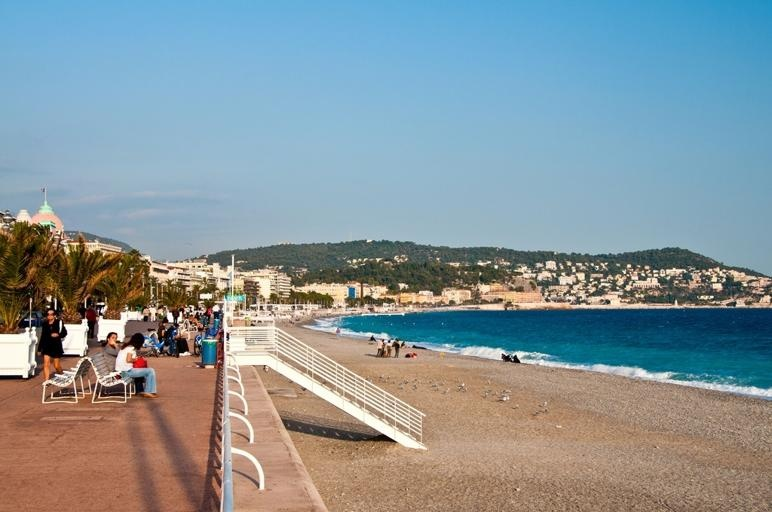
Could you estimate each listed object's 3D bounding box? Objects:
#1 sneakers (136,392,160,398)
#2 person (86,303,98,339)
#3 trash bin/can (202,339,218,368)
[{"bbox_3d":[-5.780,3.366,16.948,0.525,0.167,0.158,0,-1,-2],"label":"sneakers"},{"bbox_3d":[-12.393,2.838,29.285,0.389,1.359,1.734,1,-4,-25],"label":"person"},{"bbox_3d":[-5.707,3.125,22.417,0.584,0.911,0.311,-3,-4,19],"label":"trash bin/can"}]
